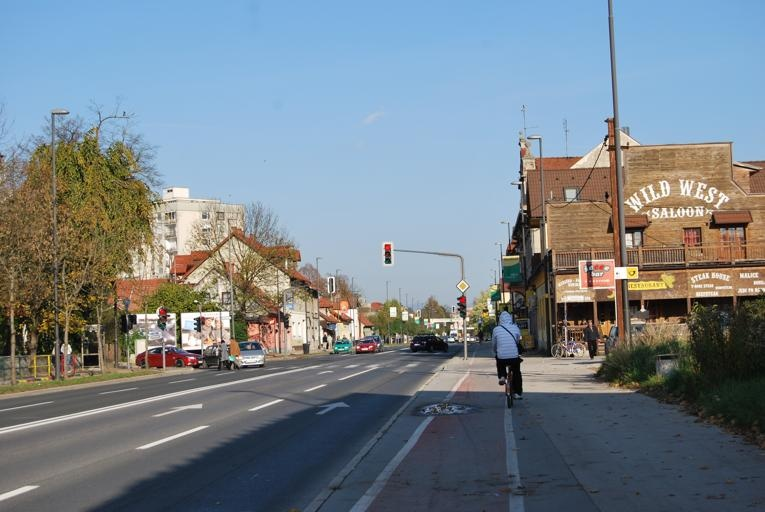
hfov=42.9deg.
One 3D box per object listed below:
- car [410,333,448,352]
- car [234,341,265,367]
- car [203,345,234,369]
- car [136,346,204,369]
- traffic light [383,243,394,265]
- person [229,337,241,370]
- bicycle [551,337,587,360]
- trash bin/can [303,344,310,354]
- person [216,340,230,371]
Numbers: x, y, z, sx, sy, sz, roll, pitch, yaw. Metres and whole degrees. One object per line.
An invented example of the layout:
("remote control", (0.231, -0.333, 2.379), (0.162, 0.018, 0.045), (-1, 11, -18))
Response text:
("car", (3.938, 6.950, 76.568), (1.227, 1.024, 2.795), (0, 2, 41))
("car", (-7.596, 5.611, 55.206), (1.184, 0.940, 2.183), (0, -9, -6))
("car", (-9.808, 5.878, 57.095), (1.055, 0.956, 1.796), (2, -10, -22))
("car", (-13.031, 6.198, 59.742), (4.199, 1.570, 3.529), (-12, -13, 43))
("traffic light", (0.276, -0.104, 50.739), (0.426, 1.086, 0.236), (0, -8, -16))
("person", (-8.283, 5.529, 54.730), (0.645, 1.677, 1.475), (-1, -9, -10))
("bicycle", (9.747, 4.905, 51.098), (1.600, 0.953, 0.819), (2, -14, 2))
("trash bin/can", (-6.803, 8.217, 86.340), (0.386, 0.975, 2.860), (-1, -10, -10))
("person", (-8.955, 5.627, 54.916), (0.638, 1.589, 1.624), (-1, -9, -11))
